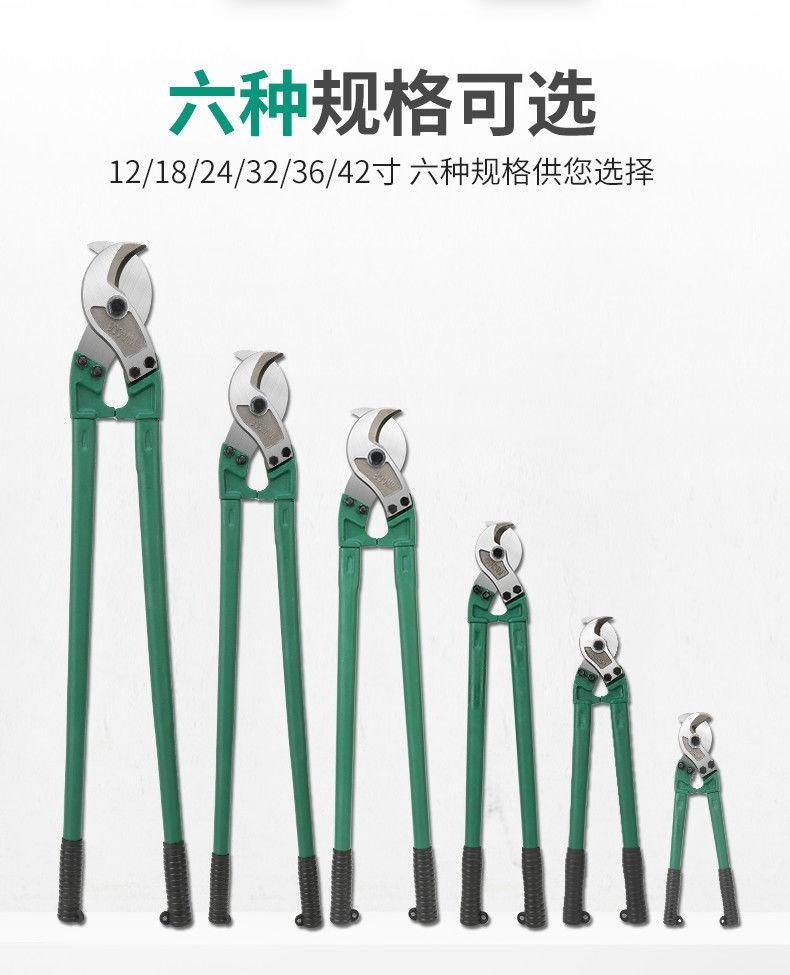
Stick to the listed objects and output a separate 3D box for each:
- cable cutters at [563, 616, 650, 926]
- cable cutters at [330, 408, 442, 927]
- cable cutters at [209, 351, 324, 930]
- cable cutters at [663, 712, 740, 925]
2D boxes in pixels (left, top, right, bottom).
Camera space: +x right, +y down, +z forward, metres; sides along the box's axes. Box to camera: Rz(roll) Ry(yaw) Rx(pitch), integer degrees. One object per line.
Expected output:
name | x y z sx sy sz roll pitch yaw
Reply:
cable cutters | 0.569 0.773 2.935 0.257 0.819 0.176 9 -13 -40
cable cutters | -0.029 0.465 2.830 0.281 1.356 0.327 0 -10 2
cable cutters | -0.327 0.395 2.834 0.296 1.504 0.320 1 -10 -6
cable cutters | 0.841 0.917 2.963 0.226 0.580 0.132 0 -10 1
